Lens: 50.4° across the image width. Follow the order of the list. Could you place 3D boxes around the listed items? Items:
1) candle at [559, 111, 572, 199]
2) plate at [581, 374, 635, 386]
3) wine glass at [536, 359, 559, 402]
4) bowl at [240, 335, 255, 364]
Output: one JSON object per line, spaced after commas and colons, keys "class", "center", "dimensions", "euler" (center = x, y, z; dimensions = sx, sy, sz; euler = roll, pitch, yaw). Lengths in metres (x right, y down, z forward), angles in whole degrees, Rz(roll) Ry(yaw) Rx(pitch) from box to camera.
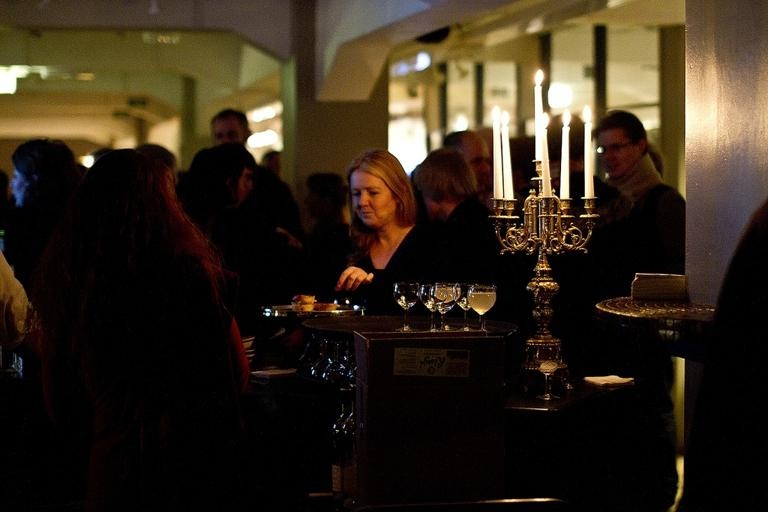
{"class": "candle", "center": [0.712, -0.395, 3.225], "dimensions": [0.034, 0.358, 0.175], "euler": [0, 0, 12]}
{"class": "plate", "center": [0.869, 0.488, 3.162], "dimensions": [0.192, 0.024, 0.113], "euler": [0, 0, 14]}
{"class": "wine glass", "center": [0.611, 0.462, 3.031], "dimensions": [0.078, 0.117, 0.243], "euler": [0, 0, 12]}
{"class": "bowl", "center": [-0.491, 0.342, 3.030], "dimensions": [0.030, 0.067, 0.087], "euler": [-9, 8, 8]}
